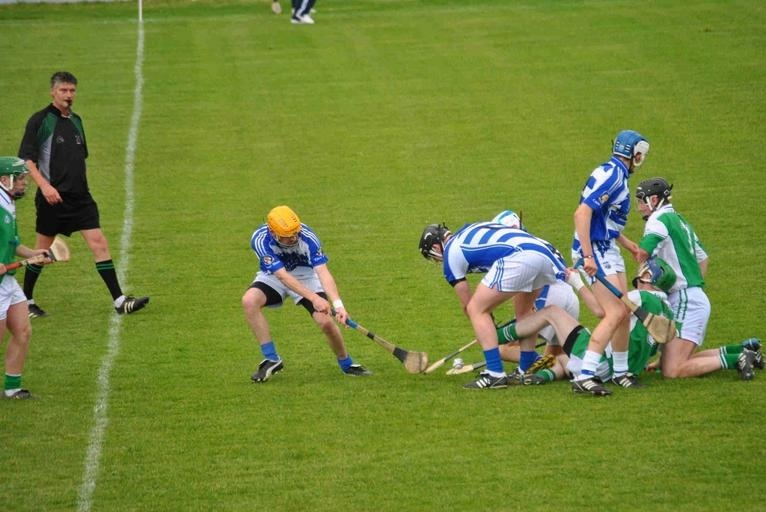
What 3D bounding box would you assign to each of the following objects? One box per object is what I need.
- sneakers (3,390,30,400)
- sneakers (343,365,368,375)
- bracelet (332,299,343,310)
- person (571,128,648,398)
[{"bbox_3d":[-4.852,1.884,18.283,0.339,0.124,0.125,-1,4,-5],"label":"sneakers"},{"bbox_3d":[-0.360,1.612,18.973,0.284,0.098,0.149,0,2,14],"label":"sneakers"},{"bbox_3d":[-0.610,0.697,18.752,0.134,0.091,0.131,-21,-2,7],"label":"bracelet"},{"bbox_3d":[3.173,0.204,18.709,1.216,3.415,1.102,3,-2,-17],"label":"person"}]
